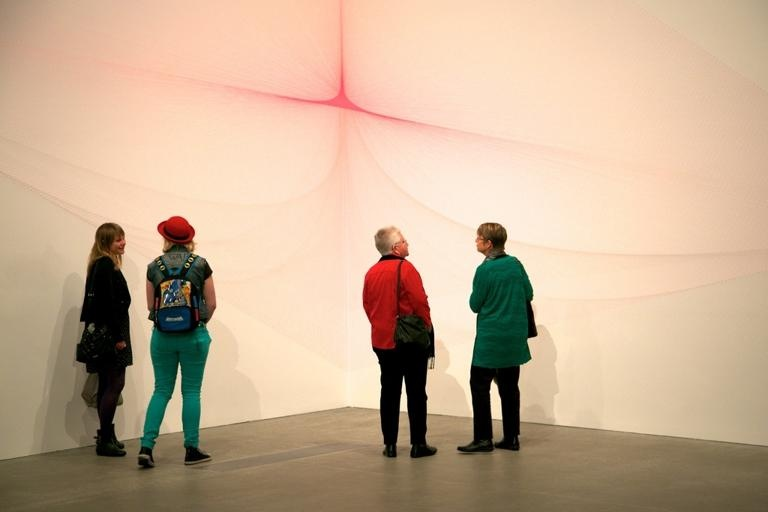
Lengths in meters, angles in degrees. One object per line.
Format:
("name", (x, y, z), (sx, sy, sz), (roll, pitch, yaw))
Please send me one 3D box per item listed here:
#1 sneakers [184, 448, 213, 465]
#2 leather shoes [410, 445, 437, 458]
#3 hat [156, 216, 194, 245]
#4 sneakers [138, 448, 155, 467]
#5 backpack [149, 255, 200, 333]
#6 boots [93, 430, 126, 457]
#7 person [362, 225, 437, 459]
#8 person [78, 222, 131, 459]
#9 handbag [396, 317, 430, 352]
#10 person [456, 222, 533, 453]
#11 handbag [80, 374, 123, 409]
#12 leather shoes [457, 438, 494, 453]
("sneakers", (-1.673, 1.771, 5.533), (0.101, 0.117, 0.261), (-1, -1, 29))
("leather shoes", (0.347, 1.757, 5.610), (0.095, 0.120, 0.282), (1, 0, 42))
("hat", (-1.848, -0.225, 5.441), (0.267, 0.248, 0.095), (-4, -38, -41))
("sneakers", (-2.071, 1.741, 5.322), (0.084, 0.108, 0.224), (1, -12, -2))
("backpack", (-1.822, 0.337, 5.342), (0.536, 0.836, 0.418), (1, -14, -13))
("boots", (-2.538, 1.769, 5.814), (0.355, 0.277, 0.149), (1, -4, 0))
("person", (0.129, 0.764, 5.598), (0.649, 2.090, 0.382), (-1, -1, 3))
("person", (-2.620, 0.764, 5.744), (0.468, 2.152, 0.342), (-1, -1, 18))
("handbag", (0.238, 0.656, 5.490), (0.316, 0.290, 0.189), (-2, 21, 11))
("person", (1.036, 0.741, 5.729), (0.673, 2.099, 0.313), (-1, -1, 14))
("handbag", (-2.664, 1.261, 5.794), (0.221, 0.434, 0.345), (-3, -7, 25))
("leather shoes", (0.840, 1.748, 5.718), (0.345, 0.159, 0.127), (2, -8, 2))
